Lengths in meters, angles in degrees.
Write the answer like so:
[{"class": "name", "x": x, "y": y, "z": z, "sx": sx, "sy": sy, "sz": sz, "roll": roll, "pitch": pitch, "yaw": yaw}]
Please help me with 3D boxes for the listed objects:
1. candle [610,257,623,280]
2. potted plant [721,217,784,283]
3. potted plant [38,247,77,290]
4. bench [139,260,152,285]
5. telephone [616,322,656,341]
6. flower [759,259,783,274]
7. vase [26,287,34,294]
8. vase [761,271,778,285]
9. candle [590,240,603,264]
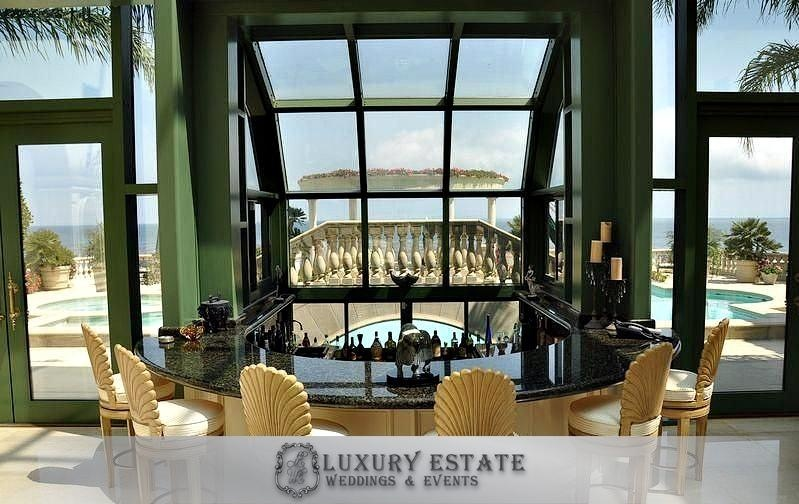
[{"class": "candle", "x": 2.152, "y": 0.173, "z": 5.850, "sx": 0.121, "sy": 0.232, "sz": 0.186, "roll": 1, "pitch": 4, "yaw": 19}, {"class": "potted plant", "x": 3.746, "y": -0.012, "z": 6.371, "sx": 0.436, "sy": 0.609, "sz": 0.448, "roll": -1, "pitch": -4, "yaw": 32}, {"class": "potted plant", "x": -3.716, "y": 0.198, "z": 6.388, "sx": 0.377, "sy": 0.405, "sz": 0.321, "roll": -2, "pitch": 4, "yaw": 3}, {"class": "bench", "x": -2.672, "y": 0.217, "z": 6.208, "sx": 0.127, "sy": 0.258, "sz": 0.021, "roll": 1, "pitch": 4, "yaw": 14}, {"class": "telephone", "x": 2.239, "y": 0.758, "z": 5.606, "sx": 0.309, "sy": 0.099, "sz": 0.172, "roll": 3, "pitch": 8, "yaw": 12}, {"class": "flower", "x": 3.969, "y": 0.162, "z": 6.297, "sx": 0.176, "sy": 0.098, "sz": 0.176, "roll": -4, "pitch": 5, "yaw": -20}, {"class": "vase", "x": -3.958, "y": 0.422, "z": 6.321, "sx": 0.063, "sy": 0.045, "sz": 0.062, "roll": 1, "pitch": -1, "yaw": 6}, {"class": "vase", "x": 3.951, "y": 0.287, "z": 6.305, "sx": 0.136, "sy": 0.097, "sz": 0.131, "roll": 0, "pitch": -1, "yaw": 7}, {"class": "candle", "x": 1.980, "y": 0.003, "z": 5.931, "sx": 0.115, "sy": 0.232, "sz": 0.112, "roll": 1, "pitch": 4, "yaw": 19}]
